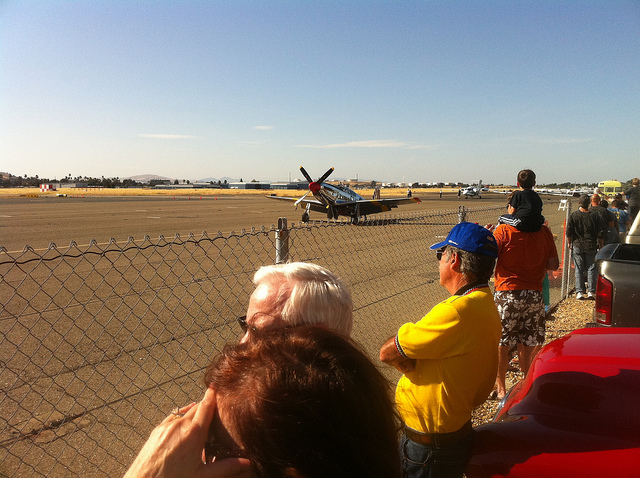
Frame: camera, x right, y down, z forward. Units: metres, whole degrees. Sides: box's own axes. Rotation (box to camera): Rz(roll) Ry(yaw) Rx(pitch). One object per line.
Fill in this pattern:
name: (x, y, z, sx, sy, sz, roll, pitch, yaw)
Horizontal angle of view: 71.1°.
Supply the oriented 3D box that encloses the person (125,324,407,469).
person: (-0.143, 0.543, 1.467, 0.839, 0.472, 0.300, 3, 11, 3)
